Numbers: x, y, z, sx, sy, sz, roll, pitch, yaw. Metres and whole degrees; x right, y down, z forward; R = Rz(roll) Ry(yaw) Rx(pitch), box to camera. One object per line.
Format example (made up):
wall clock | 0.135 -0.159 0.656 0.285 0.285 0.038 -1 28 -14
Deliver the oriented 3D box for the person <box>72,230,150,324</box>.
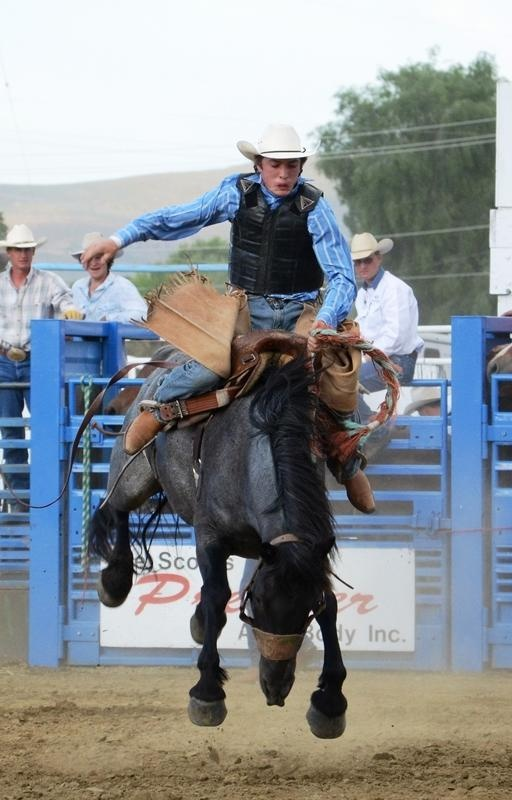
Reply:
person | -1.203 -0.908 9.439 0.274 0.645 0.805 18 32 1

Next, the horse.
horse | -0.141 0.598 5.522 0.654 1.685 1.950 -3 4 -22

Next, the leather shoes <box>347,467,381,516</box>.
leather shoes | 0.493 0.422 5.722 0.101 0.249 0.102 -28 8 12

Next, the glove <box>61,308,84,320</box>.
glove | -1.265 -0.610 8.536 0.122 0.064 0.154 5 -1 -23
